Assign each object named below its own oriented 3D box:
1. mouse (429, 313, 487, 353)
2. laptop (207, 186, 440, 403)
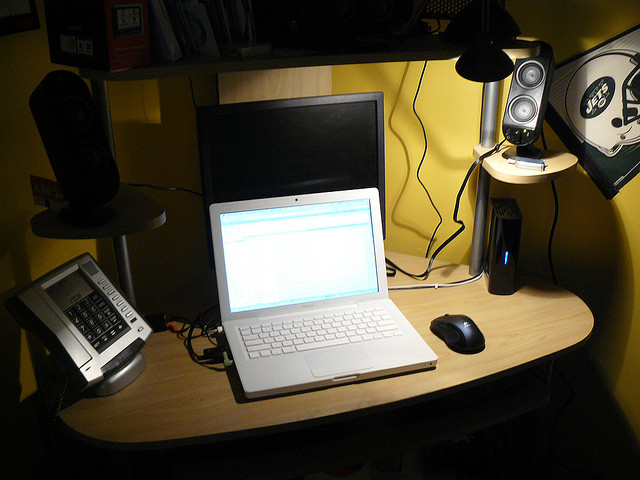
[{"bbox_3d":[0.371,0.229,1.431,0.106,0.062,0.161,-15,22,-15],"label":"mouse"},{"bbox_3d":[-0.005,0.101,1.347,0.511,0.324,0.468,-7,21,-19],"label":"laptop"}]
